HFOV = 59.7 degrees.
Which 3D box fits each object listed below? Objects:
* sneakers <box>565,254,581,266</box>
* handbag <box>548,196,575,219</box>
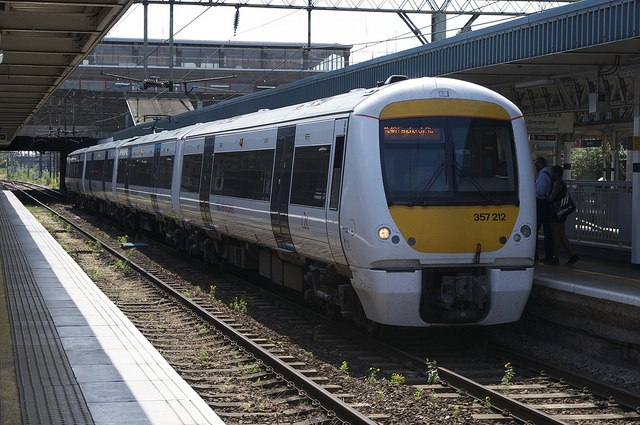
[{"bbox_3d":[5.426,1.060,12.181,0.394,0.174,0.157,-9,1,-19],"label":"sneakers"},{"bbox_3d":[5.141,-0.116,12.085,0.390,0.384,0.196,-31,5,10],"label":"handbag"}]
